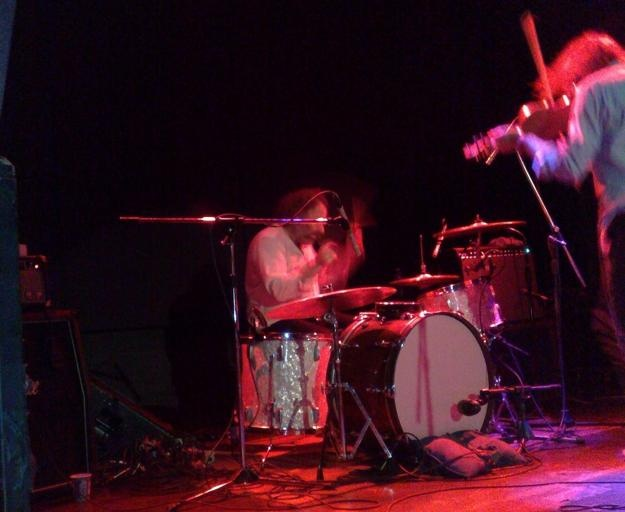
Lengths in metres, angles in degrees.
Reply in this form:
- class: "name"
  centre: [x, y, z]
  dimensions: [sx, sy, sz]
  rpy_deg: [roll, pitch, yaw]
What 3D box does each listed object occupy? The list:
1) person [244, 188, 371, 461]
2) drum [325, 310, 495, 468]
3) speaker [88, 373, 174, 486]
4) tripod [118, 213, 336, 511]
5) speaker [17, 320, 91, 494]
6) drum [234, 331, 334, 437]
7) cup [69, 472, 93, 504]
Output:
- class: "person"
  centre: [-0.181, 0.063, 5.300]
  dimensions: [0.652, 1.357, 0.639]
  rpy_deg: [-11, 28, -37]
- class: "drum"
  centre: [0.656, 0.870, 4.574]
  dimensions: [0.914, 1.051, 0.672]
  rpy_deg: [0, -4, -33]
- class: "speaker"
  centre: [-1.279, 1.199, 4.424]
  dimensions: [0.686, 0.491, 0.206]
  rpy_deg: [38, -19, -10]
- class: "tripod"
  centre: [-0.696, 0.823, 4.993]
  dimensions: [1.583, 1.825, 0.995]
  rpy_deg: [-1, -4, -3]
- class: "speaker"
  centre: [-1.599, 0.888, 4.025]
  dimensions: [0.203, 0.905, 0.572]
  rpy_deg: [-6, -5, 27]
- class: "drum"
  centre: [-0.214, 1.093, 4.941]
  dimensions: [0.658, 0.766, 0.737]
  rpy_deg: [-13, -34, 20]
- class: "cup"
  centre: [-1.396, 1.401, 3.944]
  dimensions: [0.138, 0.159, 0.140]
  rpy_deg: [-6, -17, -2]
